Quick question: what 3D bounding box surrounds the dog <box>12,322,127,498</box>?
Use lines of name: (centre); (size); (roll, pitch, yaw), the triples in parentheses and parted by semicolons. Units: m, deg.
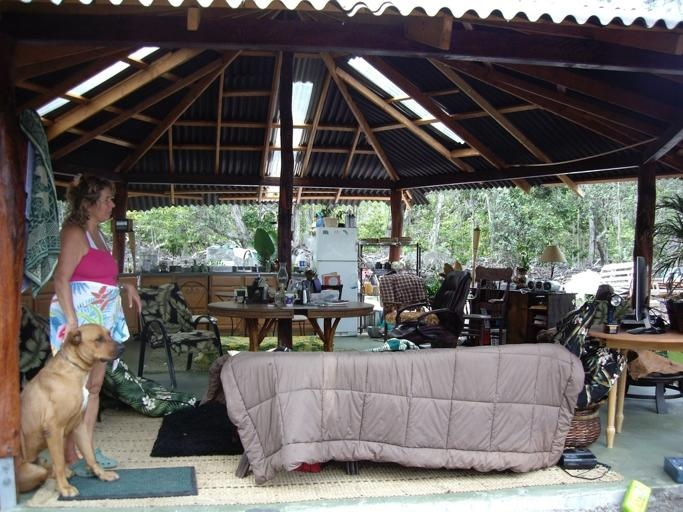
dog: (-1.713, 0.959, 3.372); (0.609, 1.058, 0.380); (1, 1, -13)

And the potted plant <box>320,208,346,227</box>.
potted plant: (-0.160, -0.656, 9.957); (0.718, 0.443, 0.736); (-1, 5, -2)

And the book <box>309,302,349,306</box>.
book: (-0.115, 0.505, 5.452); (0.355, 0.034, 0.230); (1, 0, -4)

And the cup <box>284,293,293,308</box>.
cup: (-0.534, 0.459, 5.477); (0.093, 0.110, 0.113); (-2, -9, 5)

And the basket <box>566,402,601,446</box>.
basket: (1.822, 1.277, 4.111); (0.346, 0.247, 0.341); (1, -3, 11)

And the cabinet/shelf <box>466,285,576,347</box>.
cabinet/shelf: (2.573, 0.997, 7.651); (0.731, 0.900, 1.386); (1, -4, -37)

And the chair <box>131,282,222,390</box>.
chair: (-1.762, 0.868, 6.180); (0.842, 1.138, 1.195); (1, -2, -44)

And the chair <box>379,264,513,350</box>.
chair: (1.043, 0.636, 6.528); (1.047, 1.193, 0.895); (1, -4, -14)

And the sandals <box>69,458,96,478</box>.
sandals: (-1.736, 1.418, 3.555); (0.117, 0.042, 0.114); (8, 11, -2)

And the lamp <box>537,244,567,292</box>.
lamp: (3.402, 0.180, 8.556); (0.385, 0.625, 0.379); (4, 10, 33)

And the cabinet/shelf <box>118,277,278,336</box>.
cabinet/shelf: (-2.337, 1.117, 9.191); (2.056, 0.966, 1.015); (0, -4, -5)

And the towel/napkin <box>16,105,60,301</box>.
towel/napkin: (-2.018, -0.347, 3.542); (0.232, 1.126, 0.185); (0, 1, -27)

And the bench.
bench: (0.422, 0.882, 3.736); (1.669, 0.492, 1.153); (0, -10, -2)
